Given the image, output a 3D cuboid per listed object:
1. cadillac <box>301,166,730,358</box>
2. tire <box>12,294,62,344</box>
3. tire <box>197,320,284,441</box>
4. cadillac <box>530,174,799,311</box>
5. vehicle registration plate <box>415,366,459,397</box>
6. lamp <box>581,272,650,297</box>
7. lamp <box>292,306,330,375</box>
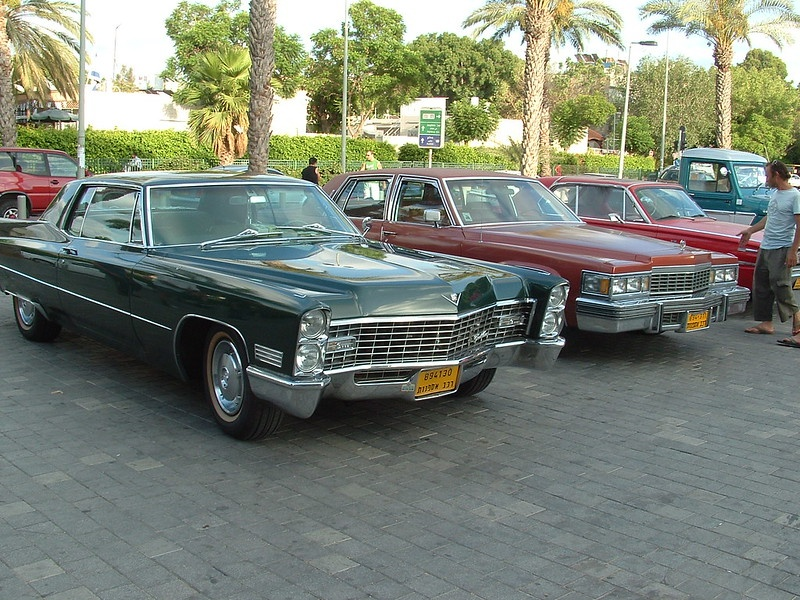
[{"bbox_3d":[1.201,-0.868,7.690,5.216,1.097,2.649,16,18,39],"label":"cadillac"},{"bbox_3d":[-4.071,0.210,6.250,0.654,0.493,0.237,12,17,42],"label":"tire"},{"bbox_3d":[-1.176,0.639,4.150,0.262,0.853,0.703,-9,18,-44],"label":"tire"},{"bbox_3d":[4.285,-1.212,9.303,4.997,1.146,1.959,14,16,32],"label":"cadillac"},{"bbox_3d":[0.253,0.571,3.938,0.345,0.157,0.042,-5,20,-29],"label":"vehicle registration plate"},{"bbox_3d":[2.450,-0.176,6.270,0.752,0.251,0.291,4,11,8],"label":"lamp"},{"bbox_3d":[-0.552,0.264,3.484,0.206,0.427,0.043,-2,16,-25],"label":"lamp"}]
